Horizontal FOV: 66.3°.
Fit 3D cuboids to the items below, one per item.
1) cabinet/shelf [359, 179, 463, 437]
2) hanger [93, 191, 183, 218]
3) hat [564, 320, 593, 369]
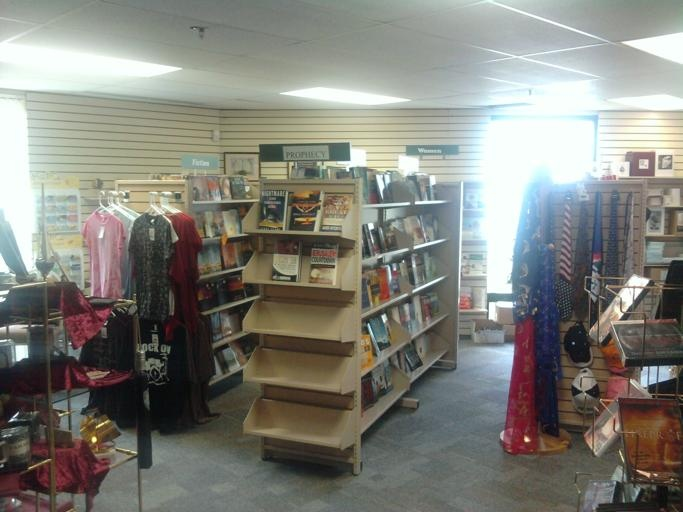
[{"bbox_3d":[0.843,0.623,6.432,0.606,2.099,2.944,0,4,19],"label":"cabinet/shelf"},{"bbox_3d":[-2.229,-0.594,5.994,1.037,0.285,0.567,4,8,27],"label":"hanger"},{"bbox_3d":[2.433,0.901,5.348,0.287,0.430,0.146,-14,-2,33],"label":"hat"}]
